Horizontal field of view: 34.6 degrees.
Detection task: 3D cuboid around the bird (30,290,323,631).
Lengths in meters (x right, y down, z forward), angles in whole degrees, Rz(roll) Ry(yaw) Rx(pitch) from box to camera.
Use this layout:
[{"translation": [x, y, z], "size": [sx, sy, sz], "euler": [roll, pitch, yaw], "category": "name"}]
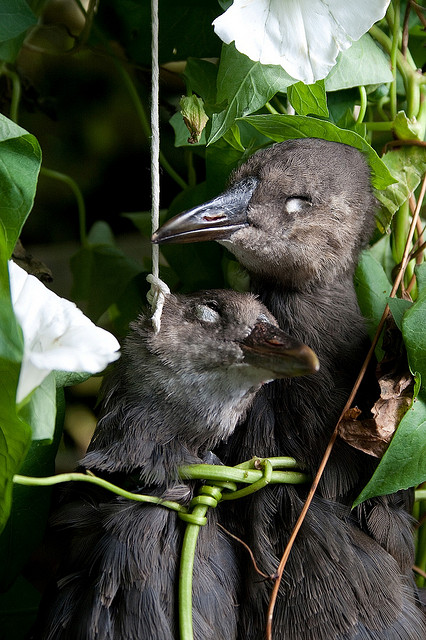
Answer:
[{"translation": [-0.033, 0.100, 0.512], "size": [0.183, 0.229, 0.204], "euler": [6, 36, 1], "category": "bird"}]
